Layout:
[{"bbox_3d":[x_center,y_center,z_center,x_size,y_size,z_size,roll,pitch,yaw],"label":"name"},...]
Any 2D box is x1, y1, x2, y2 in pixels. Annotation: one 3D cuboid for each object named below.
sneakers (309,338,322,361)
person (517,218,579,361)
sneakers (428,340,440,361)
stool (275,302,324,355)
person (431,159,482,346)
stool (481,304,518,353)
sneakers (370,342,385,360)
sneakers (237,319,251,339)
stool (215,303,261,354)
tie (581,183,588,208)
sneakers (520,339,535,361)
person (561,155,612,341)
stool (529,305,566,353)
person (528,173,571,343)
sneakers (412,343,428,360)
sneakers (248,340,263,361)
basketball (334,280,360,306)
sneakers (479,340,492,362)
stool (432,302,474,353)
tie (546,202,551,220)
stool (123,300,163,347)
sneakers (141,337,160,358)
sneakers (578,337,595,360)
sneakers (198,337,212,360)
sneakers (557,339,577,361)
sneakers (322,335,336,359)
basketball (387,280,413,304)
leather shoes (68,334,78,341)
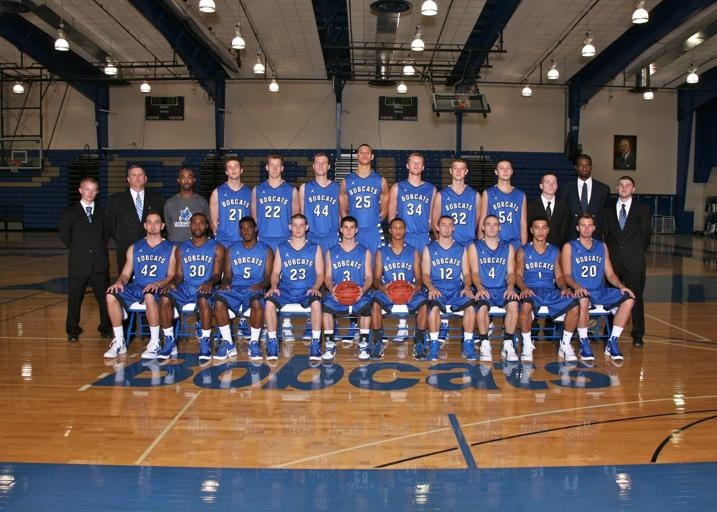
[{"bbox_3d":[-0.557,1.201,9.746,0.157,0.284,0.254,1,11,-2],"label":"sneakers"},{"bbox_3d":[2.502,0.559,9.897,0.826,1.530,0.779,3,11,6],"label":"person"},{"bbox_3d":[0.992,1.252,9.794,0.217,0.275,0.656,0,-5,10],"label":"sneakers"},{"bbox_3d":[-0.707,0.934,9.729,0.669,0.761,0.610,1,1,0],"label":"stool"},{"bbox_3d":[1.376,-0.084,10.419,0.724,2.437,0.472,2,2,13],"label":"person"},{"bbox_3d":[1.828,0.902,9.838,0.423,0.529,0.437,0,-17,5],"label":"stool"},{"bbox_3d":[0.241,1.232,9.830,0.159,0.204,0.260,2,11,1],"label":"sneakers"},{"bbox_3d":[-1.595,1.017,10.403,0.141,0.176,0.415,1,-12,-6],"label":"sneakers"},{"bbox_3d":[-1.585,0.952,9.819,0.648,0.807,0.640,0,5,1],"label":"stool"},{"bbox_3d":[3.215,-0.832,10.563,0.125,0.391,0.074,3,11,6],"label":"tie"},{"bbox_3d":[2.228,1.221,9.787,0.150,0.270,0.278,4,11,13],"label":"sneakers"},{"bbox_3d":[3.260,-0.522,10.690,0.719,1.807,0.360,0,1,6],"label":"person"},{"bbox_3d":[2.667,0.964,10.471,0.468,0.819,0.585,0,14,8],"label":"stool"},{"bbox_3d":[2.727,-0.061,10.677,0.721,2.191,0.640,-1,12,-3],"label":"person"},{"bbox_3d":[0.829,1.247,9.793,0.180,0.200,0.166,1,11,-6],"label":"sneakers"},{"bbox_3d":[-1.346,1.228,9.776,0.184,0.239,0.247,0,11,-9],"label":"sneakers"},{"bbox_3d":[-0.154,0.477,9.616,0.311,0.323,0.264,4,26,-5],"label":"basketball"},{"bbox_3d":[1.678,1.230,9.762,0.150,0.255,0.248,4,11,9],"label":"sneakers"},{"bbox_3d":[1.269,0.951,9.926,0.554,0.764,0.581,1,7,12],"label":"stool"},{"bbox_3d":[2.688,-0.635,10.507,0.056,0.202,0.081,-6,13,-37],"label":"tie"},{"bbox_3d":[-3.083,0.932,10.310,0.600,0.818,0.591,0,-3,-12],"label":"stool"},{"bbox_3d":[-2.726,1.214,9.777,0.236,0.251,0.218,-1,11,-17],"label":"sneakers"},{"bbox_3d":[2.996,1.215,9.727,0.200,0.277,0.258,5,11,14],"label":"sneakers"},{"bbox_3d":[-2.003,1.196,9.766,0.154,0.272,0.328,-1,11,-12],"label":"sneakers"},{"bbox_3d":[2.756,1.238,9.813,0.307,0.235,0.278,8,13,31],"label":"sneakers"},{"bbox_3d":[-0.388,1.185,9.757,0.164,0.318,0.193,1,11,-2],"label":"sneakers"},{"bbox_3d":[0.541,0.479,9.641,0.315,0.248,0.248,-3,8,-5],"label":"basketball"},{"bbox_3d":[-3.968,1.148,10.371,0.066,0.049,0.121,0,5,-11],"label":"leather shoes"}]
